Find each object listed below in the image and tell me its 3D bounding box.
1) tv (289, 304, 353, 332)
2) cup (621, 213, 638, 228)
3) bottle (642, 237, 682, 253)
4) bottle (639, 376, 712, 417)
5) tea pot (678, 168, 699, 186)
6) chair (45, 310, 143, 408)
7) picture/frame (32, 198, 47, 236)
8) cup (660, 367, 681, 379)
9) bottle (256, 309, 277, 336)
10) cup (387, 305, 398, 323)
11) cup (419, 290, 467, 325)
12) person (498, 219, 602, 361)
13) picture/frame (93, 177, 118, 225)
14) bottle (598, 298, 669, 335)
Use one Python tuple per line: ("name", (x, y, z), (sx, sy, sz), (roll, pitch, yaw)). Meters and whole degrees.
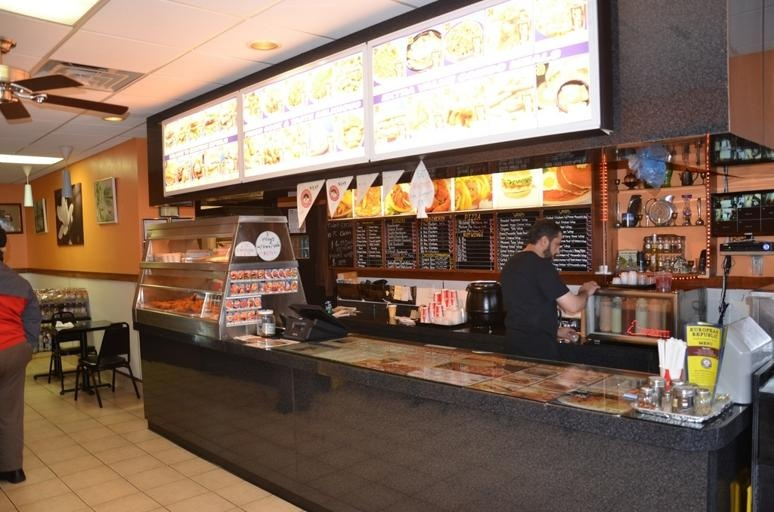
("tv", (-0.608, 0.551, 4.875), (0.325, 0.269, 0.397), (-13, 14, -39))
("cup", (3.071, -0.458, 6.779), (0.183, 0.187, 0.091), (0, 12, 20))
("bottle", (3.374, -0.136, 6.567), (0.397, 0.184, 0.188), (1, 1, 36))
("bottle", (1.602, 0.789, 2.980), (0.234, 0.068, 0.255), (-1, -2, 0))
("tea pot", (3.665, -0.953, 6.573), (0.185, 0.173, 0.158), (-10, 13, -27))
("chair", (-4.408, 1.477, 7.979), (0.956, 0.895, 2.132), (1, -4, -37))
("picture/frame", (-7.246, -0.847, 11.287), (0.151, 0.855, 0.860), (0, -3, -38))
("cup", (1.720, 0.704, 3.235), (0.084, 0.054, 0.070), (-1, -3, 20))
("bottle", (-1.132, 0.640, 5.180), (0.252, 0.240, 0.187), (-3, -4, 37))
("cup", (0.071, 0.643, 5.967), (0.165, 0.203, 0.153), (0, -6, 0))
("cup", (0.573, 0.540, 5.586), (0.426, 0.252, 0.398), (1, 2, 0))
("person", (1.337, 0.342, 4.577), (0.703, 1.270, 0.475), (-5, 12, 0))
("picture/frame", (-4.406, -0.881, 8.498), (0.098, 0.754, 0.888), (1, -2, -38))
("bottle", (2.430, 0.584, 5.279), (0.679, 0.372, 0.138), (3, 14, 33))
